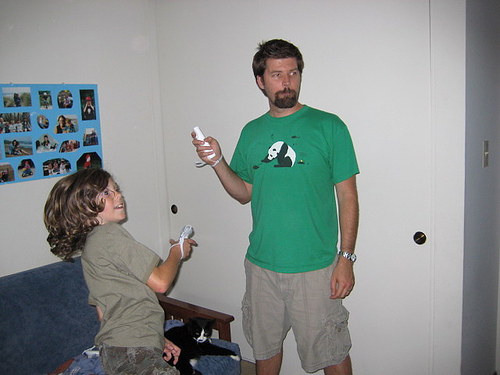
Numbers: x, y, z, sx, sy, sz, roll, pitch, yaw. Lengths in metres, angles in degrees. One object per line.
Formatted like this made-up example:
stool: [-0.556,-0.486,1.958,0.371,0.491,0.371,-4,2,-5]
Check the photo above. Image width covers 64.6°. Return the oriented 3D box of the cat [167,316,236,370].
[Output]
cat: [-0.308,0.830,2.144,0.404,0.226,0.167,-25,-17,16]

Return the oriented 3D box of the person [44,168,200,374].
person: [-0.635,0.371,1.839,0.633,0.902,0.309,0,8,11]

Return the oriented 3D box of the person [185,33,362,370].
person: [0.192,0.115,2.133,0.756,1.792,0.288,2,8,24]
